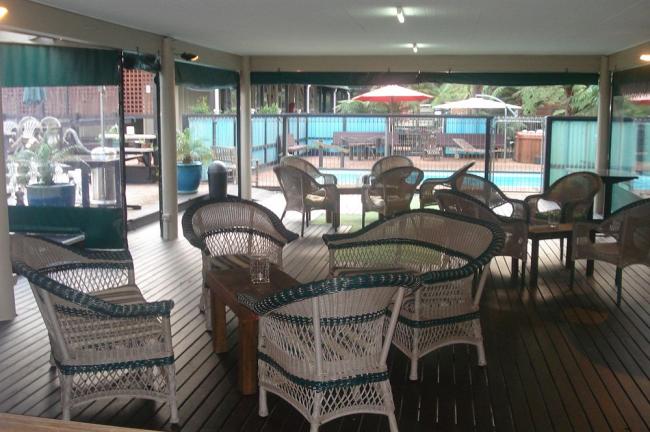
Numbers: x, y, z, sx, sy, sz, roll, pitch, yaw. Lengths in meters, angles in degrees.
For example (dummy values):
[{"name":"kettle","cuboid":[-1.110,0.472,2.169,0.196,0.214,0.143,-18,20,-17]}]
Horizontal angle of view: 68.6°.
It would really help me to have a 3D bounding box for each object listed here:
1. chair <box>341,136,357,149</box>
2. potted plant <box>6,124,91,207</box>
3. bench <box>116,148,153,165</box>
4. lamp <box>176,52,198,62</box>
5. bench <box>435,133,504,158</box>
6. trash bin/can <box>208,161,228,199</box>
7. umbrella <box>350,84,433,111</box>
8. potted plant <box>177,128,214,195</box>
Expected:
[{"name":"chair","cuboid":[0.686,-2.065,13.092,0.359,0.408,0.363,0,13,-4]},{"name":"potted plant","cuboid":[-3.785,-0.682,6.779,0.956,1.043,0.985,-1,3,-19]},{"name":"bench","cuboid":[-4.152,-1.342,10.519,0.858,0.223,0.625,6,21,11]},{"name":"lamp","cuboid":[-2.317,-2.681,7.996,0.391,0.171,0.259,10,12,32]},{"name":"bench","cuboid":[3.523,-1.773,11.837,1.098,0.458,0.670,-3,13,5]},{"name":"trash bin/can","cuboid":[-2.368,-0.706,10.257,0.480,0.980,0.458,0,10,-34]},{"name":"umbrella","cuboid":[1.652,-2.987,11.902,1.498,0.707,2.825,0,10,5]},{"name":"potted plant","cuboid":[-3.418,-1.304,11.619,1.173,1.529,1.396,-3,2,-3]}]
